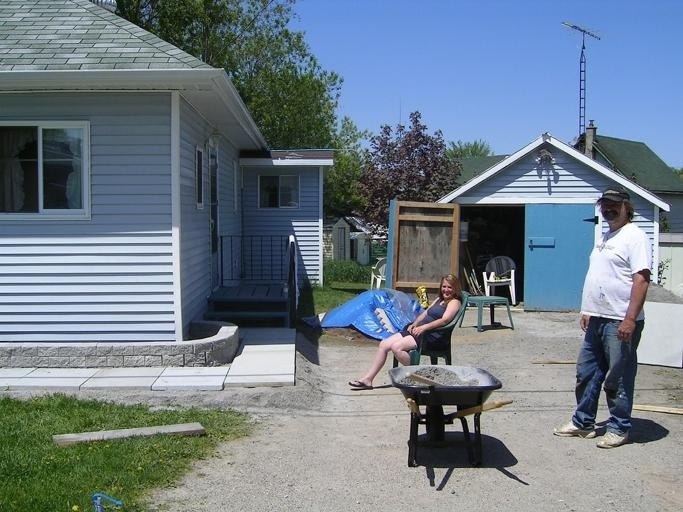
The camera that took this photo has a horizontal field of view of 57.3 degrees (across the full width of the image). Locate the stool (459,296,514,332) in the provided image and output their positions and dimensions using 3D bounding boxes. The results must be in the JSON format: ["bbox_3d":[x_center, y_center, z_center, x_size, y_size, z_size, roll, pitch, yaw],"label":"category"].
[{"bbox_3d":[3.058,1.112,12.471,0.617,0.439,0.832,-7,-8,6],"label":"stool"}]

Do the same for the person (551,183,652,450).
[{"bbox_3d":[2.699,0.636,6.272,0.658,2.588,0.464,7,9,39],"label":"person"}]

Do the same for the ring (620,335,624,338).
[{"bbox_3d":[2.723,0.783,6.048,0.038,0.043,0.015,4,8,20],"label":"ring"}]

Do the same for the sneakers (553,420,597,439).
[{"bbox_3d":[2.457,1.848,6.564,0.403,0.208,0.179,4,-4,11],"label":"sneakers"}]

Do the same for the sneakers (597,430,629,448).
[{"bbox_3d":[2.755,1.860,6.306,0.370,0.163,0.136,1,-4,-15],"label":"sneakers"}]

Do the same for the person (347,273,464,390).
[{"bbox_3d":[0.857,0.953,7.931,1.534,1.437,0.736,-1,1,-13],"label":"person"}]

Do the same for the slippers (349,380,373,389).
[{"bbox_3d":[0.262,1.706,8.158,0.250,0.096,0.137,5,-4,2],"label":"slippers"}]
